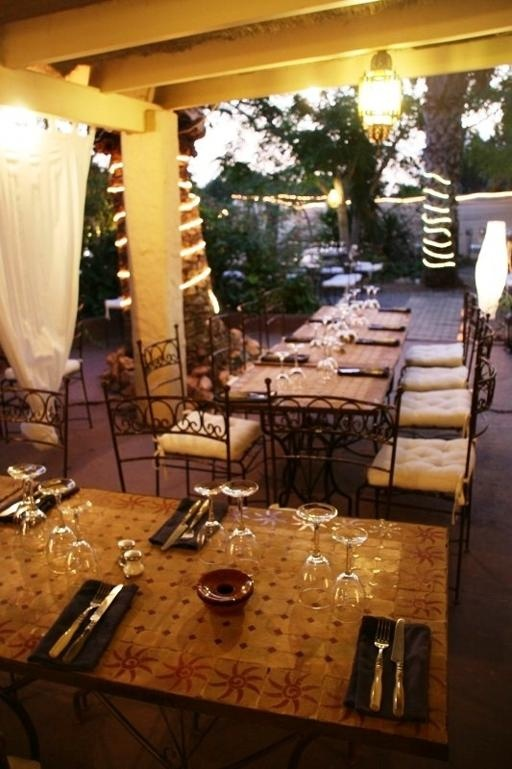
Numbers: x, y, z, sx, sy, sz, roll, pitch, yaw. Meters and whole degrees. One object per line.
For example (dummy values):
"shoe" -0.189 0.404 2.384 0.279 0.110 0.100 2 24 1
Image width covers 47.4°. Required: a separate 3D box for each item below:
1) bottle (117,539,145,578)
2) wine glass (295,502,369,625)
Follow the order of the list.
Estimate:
"bottle" -0.363 0.515 1.715 0.070 0.099 0.106 -1 2 -8
"wine glass" 0.210 0.512 1.633 0.197 0.250 0.102 14 25 38
